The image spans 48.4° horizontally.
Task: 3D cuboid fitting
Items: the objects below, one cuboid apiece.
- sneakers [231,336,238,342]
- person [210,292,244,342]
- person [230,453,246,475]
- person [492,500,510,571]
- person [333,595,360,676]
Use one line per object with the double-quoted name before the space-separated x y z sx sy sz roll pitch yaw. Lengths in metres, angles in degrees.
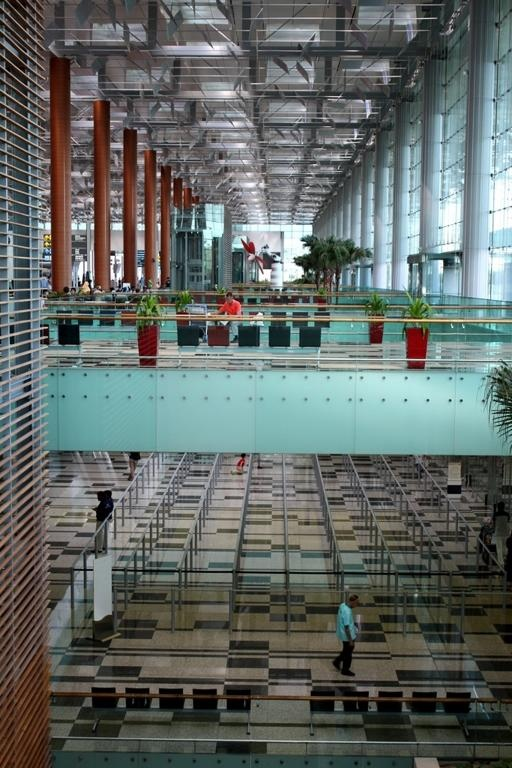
"sneakers" -0.330 -0.676 8.655 0.106 0.122 0.059 1 -4 3
"person" -0.467 -1.155 9.886 0.352 0.856 0.438 -4 2 2
"person" -0.556 2.440 18.192 0.411 0.766 1.448 -1 9 -2
"person" 4.585 2.712 10.682 0.293 1.205 1.258 3 9 24
"person" 1.129 3.045 7.190 0.276 1.099 1.240 1 9 10
